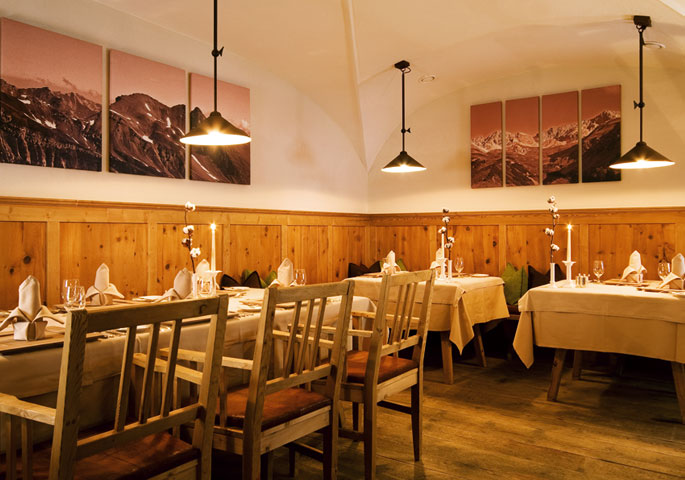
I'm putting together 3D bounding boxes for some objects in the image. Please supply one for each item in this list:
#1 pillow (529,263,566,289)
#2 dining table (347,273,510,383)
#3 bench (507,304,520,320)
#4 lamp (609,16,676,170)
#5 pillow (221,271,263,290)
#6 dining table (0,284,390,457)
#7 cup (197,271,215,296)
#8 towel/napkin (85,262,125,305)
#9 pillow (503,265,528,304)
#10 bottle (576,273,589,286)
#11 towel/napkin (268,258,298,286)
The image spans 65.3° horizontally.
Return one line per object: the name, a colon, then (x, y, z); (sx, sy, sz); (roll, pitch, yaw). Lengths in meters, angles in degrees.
pillow: (2.497, 0.446, 6.522); (0.362, 0.242, 0.373); (2, -2, -13)
dining table: (1.260, 0.800, 5.815); (1.122, 0.792, 1.309); (-1, -3, 25)
bench: (2.030, 0.846, 6.323); (0.151, 0.232, 0.161); (3, 3, 36)
lamp: (3.248, -1.497, 5.624); (0.668, 1.499, 1.916); (3, 8, 27)
pillow: (-1.115, 0.456, 5.949); (0.250, 0.090, 0.260); (3, 4, 23)
dining table: (-0.862, 0.773, 3.111); (0.952, 0.304, 1.252); (1, 2, 33)
cup: (-1.114, 0.350, 4.304); (0.090, 0.172, 0.175); (-3, -5, 16)
towel/napkin: (-1.834, 0.293, 4.149); (0.267, 0.396, 0.356); (-3, -1, 38)
pillow: (2.110, 0.542, 6.529); (0.338, 0.451, 0.201); (2, -13, 18)
bottle: (2.292, 0.387, 5.130); (0.119, 0.129, 0.122); (-1, 4, -24)
towel/napkin: (-0.506, 0.285, 4.498); (0.220, 0.267, 0.238); (4, -6, -13)
